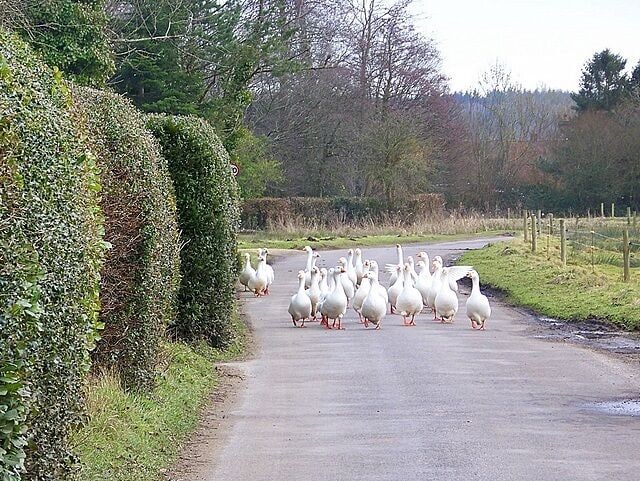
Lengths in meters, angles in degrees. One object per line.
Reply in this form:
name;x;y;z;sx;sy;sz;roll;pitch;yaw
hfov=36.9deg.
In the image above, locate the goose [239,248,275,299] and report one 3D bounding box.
goose;-1.838;0.862;27.575;0.900;1.258;2.721;-1;2;-5
